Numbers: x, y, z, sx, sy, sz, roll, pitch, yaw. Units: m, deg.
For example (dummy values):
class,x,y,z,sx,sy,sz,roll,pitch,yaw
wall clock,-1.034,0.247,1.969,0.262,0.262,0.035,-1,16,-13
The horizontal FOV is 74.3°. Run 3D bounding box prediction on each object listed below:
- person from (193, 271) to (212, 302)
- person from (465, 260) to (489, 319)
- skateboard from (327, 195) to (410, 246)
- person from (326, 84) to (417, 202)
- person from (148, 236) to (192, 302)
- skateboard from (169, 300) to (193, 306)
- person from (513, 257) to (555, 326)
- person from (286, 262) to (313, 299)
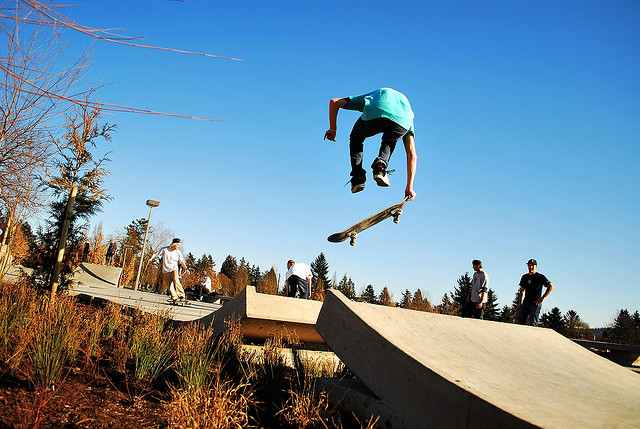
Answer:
class,x,y,z,sx,sy,sz,roll,pitch,yaw
person,-4.831,3.049,17.463,0.702,0.946,2.051,3,-6,-16
person,3.641,1.726,9.746,0.441,1.312,1.733,0,-6,21
skateboard,0.610,0.118,5.303,0.185,1.050,0.255,46,-24,42
person,0.749,-1.042,5.379,1.145,1.574,0.929,12,-48,9
person,-3.754,1.459,10.871,0.638,1.633,1.149,4,-6,-20
skateboard,-3.629,2.367,11.257,0.692,0.103,0.211,1,19,-26
person,4.603,1.694,9.115,0.578,1.412,1.341,1,-6,12
person,-0.505,1.661,10.545,0.646,0.837,1.019,2,-6,-4
